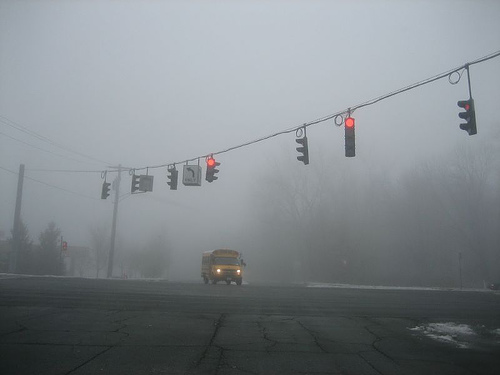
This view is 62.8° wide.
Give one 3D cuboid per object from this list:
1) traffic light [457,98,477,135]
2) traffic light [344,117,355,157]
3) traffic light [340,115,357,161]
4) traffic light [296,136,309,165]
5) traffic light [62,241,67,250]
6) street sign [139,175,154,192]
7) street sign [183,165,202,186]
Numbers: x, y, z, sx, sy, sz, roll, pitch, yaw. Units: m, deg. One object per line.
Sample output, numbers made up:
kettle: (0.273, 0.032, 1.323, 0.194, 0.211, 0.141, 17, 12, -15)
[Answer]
traffic light: (8.085, -2.698, 15.375, 0.521, 1.537, 1.026, -7, -11, 28)
traffic light: (4.425, -2.236, 18.221, 0.505, 0.208, 2.053, 2, -51, 19)
traffic light: (4.412, -2.360, 18.163, 0.507, 0.211, 1.967, 7, -41, 21)
traffic light: (2.544, -1.845, 20.214, 0.517, 1.462, 0.576, -4, -9, 12)
traffic light: (-24.693, 7.805, 54.574, 0.368, 1.031, 1.704, 4, -12, -32)
street sign: (-7.372, -0.333, 28.960, 0.334, 1.496, 1.357, -2, 1, 33)
street sign: (-3.826, -0.780, 26.763, 1.110, 1.467, 0.818, -1, -9, -2)
